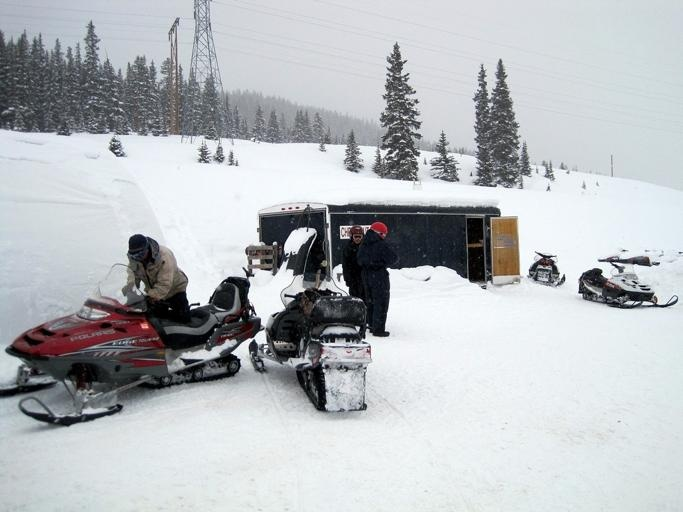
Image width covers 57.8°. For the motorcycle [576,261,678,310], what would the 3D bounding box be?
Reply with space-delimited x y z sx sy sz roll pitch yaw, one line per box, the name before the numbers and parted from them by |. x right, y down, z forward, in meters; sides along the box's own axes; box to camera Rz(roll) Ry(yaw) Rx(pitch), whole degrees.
motorcycle | 7.000 0.764 15.927 0.906 1.133 2.290 0 -1 -20

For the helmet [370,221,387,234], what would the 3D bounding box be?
helmet | 0.727 -0.506 11.986 0.271 0.246 0.224 3 16 -14

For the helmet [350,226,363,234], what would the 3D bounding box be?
helmet | 0.324 -0.558 13.325 0.248 0.161 0.400 0 6 -4

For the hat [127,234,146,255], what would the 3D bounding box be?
hat | -2.862 -0.150 8.725 0.251 0.277 0.168 0 7 -20

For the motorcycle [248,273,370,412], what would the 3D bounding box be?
motorcycle | -0.429 1.231 9.076 1.033 1.115 2.076 3 5 -16

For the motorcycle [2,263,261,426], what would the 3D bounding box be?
motorcycle | -2.945 1.082 9.246 3.179 1.790 1.738 0 1 -42

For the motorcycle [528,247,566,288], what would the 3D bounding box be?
motorcycle | 6.575 0.423 19.894 0.651 0.999 1.682 3 7 24
